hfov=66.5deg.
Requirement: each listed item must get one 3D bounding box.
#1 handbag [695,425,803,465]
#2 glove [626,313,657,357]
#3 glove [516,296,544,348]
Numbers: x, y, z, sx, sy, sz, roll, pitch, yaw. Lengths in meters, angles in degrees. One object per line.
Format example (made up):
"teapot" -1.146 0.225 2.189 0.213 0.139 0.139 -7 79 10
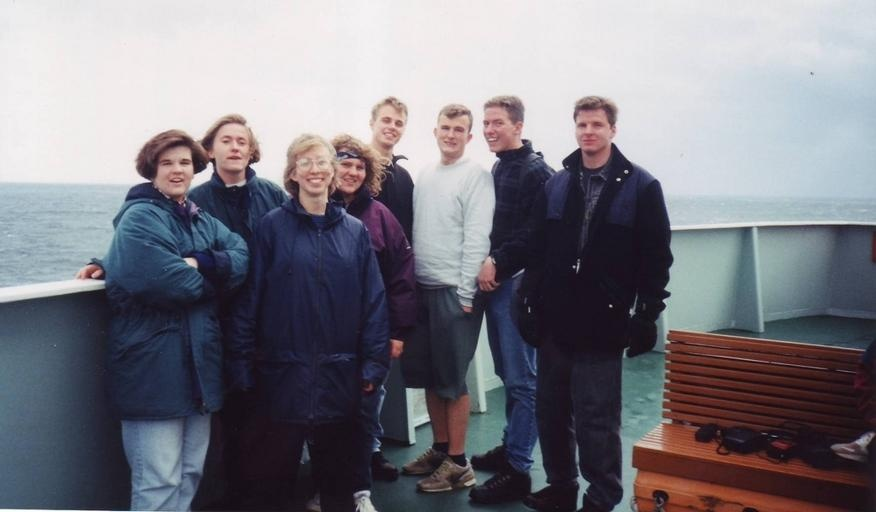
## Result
"handbag" 2.254 1.339 4.804 0.429 0.094 0.290 2 4 9
"glove" 1.529 0.582 5.042 0.251 0.300 0.122 14 7 9
"glove" 0.694 0.518 5.184 0.088 0.343 0.241 -10 -5 -35
